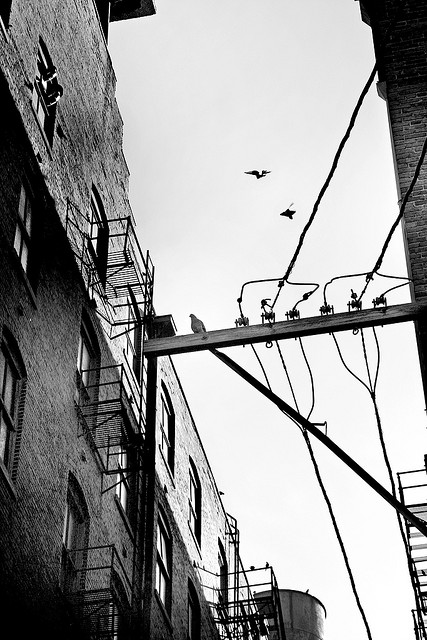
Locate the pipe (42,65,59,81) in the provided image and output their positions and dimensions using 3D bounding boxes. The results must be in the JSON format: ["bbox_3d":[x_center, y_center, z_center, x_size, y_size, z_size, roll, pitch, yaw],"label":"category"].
[{"bbox_3d":[-2.794,-4.211,18.150,0.056,0.326,0.236,23,-14,-30],"label":"pipe"}]
